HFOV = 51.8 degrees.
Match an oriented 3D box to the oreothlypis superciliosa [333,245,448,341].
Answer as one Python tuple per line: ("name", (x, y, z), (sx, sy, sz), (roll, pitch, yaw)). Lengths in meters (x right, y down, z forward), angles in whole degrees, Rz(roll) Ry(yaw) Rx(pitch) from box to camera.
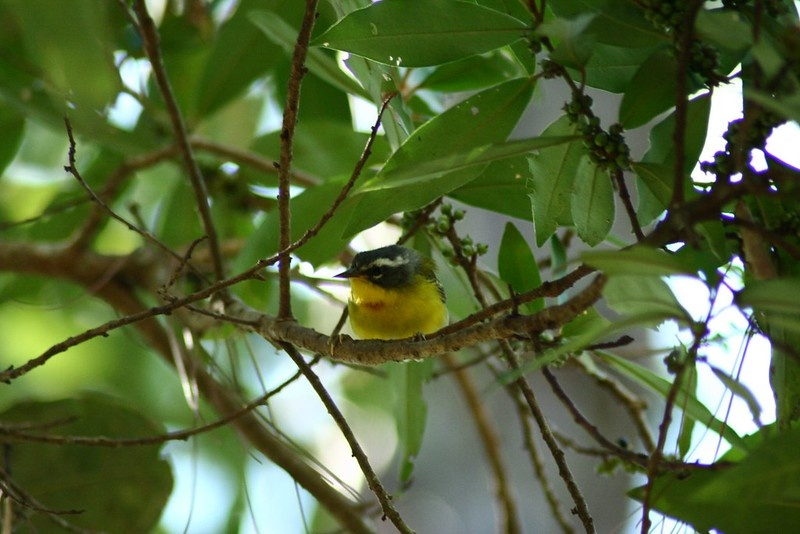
("oreothlypis superciliosa", (-0.073, 0.173, 5.192), (0.488, 0.524, 0.685), (-7, 10, 34))
